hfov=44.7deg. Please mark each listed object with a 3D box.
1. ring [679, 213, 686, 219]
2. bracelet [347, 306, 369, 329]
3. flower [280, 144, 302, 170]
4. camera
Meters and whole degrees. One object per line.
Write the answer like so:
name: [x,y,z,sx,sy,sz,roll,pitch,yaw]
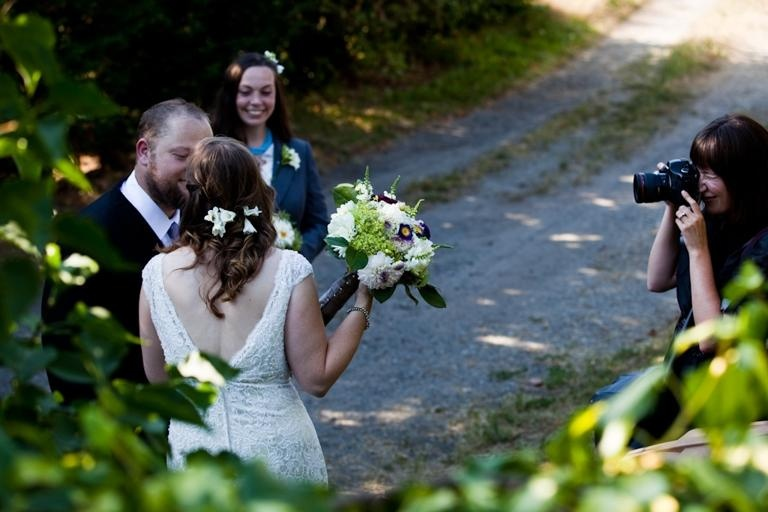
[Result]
ring: [1.553,-0.205,4.878,0.027,0.022,0.039,-4,8,-7]
bracelet: [-0.134,0.287,4.415,0.108,0.035,0.093,43,7,17]
flower: [-0.626,-0.648,6.254,0.071,0.148,0.146,-26,-4,-11]
camera: [1.529,-0.392,5.048,0.317,0.200,0.301,-2,10,12]
